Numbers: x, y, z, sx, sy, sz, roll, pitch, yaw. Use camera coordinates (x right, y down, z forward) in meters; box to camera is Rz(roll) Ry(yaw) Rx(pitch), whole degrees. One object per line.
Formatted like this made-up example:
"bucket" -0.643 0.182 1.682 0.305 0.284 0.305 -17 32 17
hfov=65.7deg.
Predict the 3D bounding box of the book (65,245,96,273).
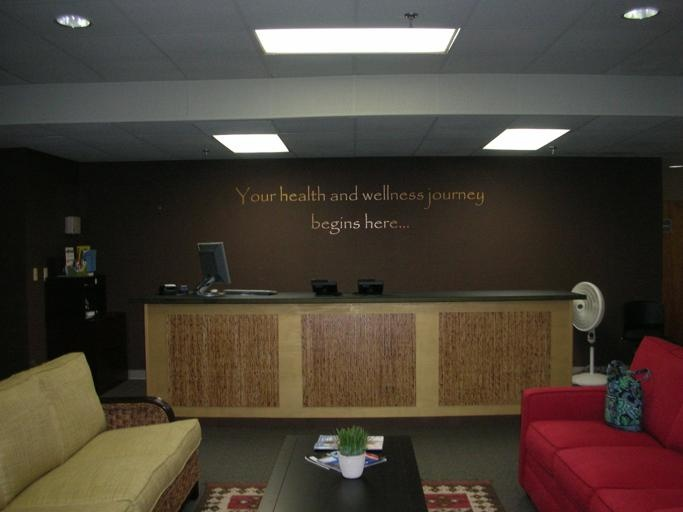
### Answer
"book" -3.468 0.064 6.937 0.307 0.483 0.404 -2 -5 38

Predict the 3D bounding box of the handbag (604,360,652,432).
"handbag" 2.304 1.147 4.260 0.365 0.624 0.278 7 -12 13

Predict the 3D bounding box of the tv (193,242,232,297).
"tv" -1.510 0.147 6.264 0.541 0.687 0.370 0 11 34

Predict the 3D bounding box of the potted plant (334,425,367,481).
"potted plant" 0.078 1.418 3.834 0.190 0.346 0.217 3 -3 -39
